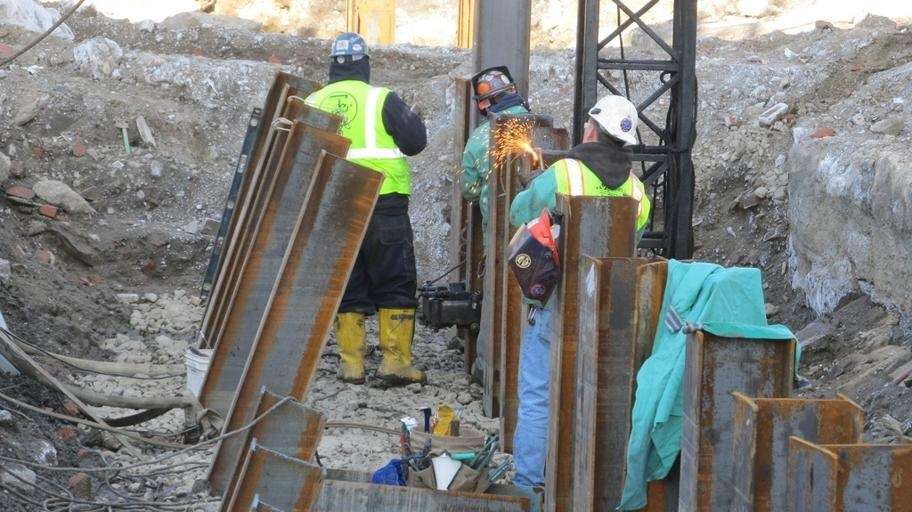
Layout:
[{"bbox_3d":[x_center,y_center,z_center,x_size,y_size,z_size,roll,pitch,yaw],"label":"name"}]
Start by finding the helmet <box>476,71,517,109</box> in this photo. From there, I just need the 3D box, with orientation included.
[{"bbox_3d":[0.529,-2.262,20.120,0.491,0.418,0.521,-20,25,2],"label":"helmet"}]

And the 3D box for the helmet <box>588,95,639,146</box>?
[{"bbox_3d":[1.988,-1.751,18.548,0.493,0.363,0.661,15,21,-47],"label":"helmet"}]

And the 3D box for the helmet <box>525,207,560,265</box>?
[{"bbox_3d":[1.108,-0.252,18.222,0.546,0.571,0.461,-18,-5,-12],"label":"helmet"}]
